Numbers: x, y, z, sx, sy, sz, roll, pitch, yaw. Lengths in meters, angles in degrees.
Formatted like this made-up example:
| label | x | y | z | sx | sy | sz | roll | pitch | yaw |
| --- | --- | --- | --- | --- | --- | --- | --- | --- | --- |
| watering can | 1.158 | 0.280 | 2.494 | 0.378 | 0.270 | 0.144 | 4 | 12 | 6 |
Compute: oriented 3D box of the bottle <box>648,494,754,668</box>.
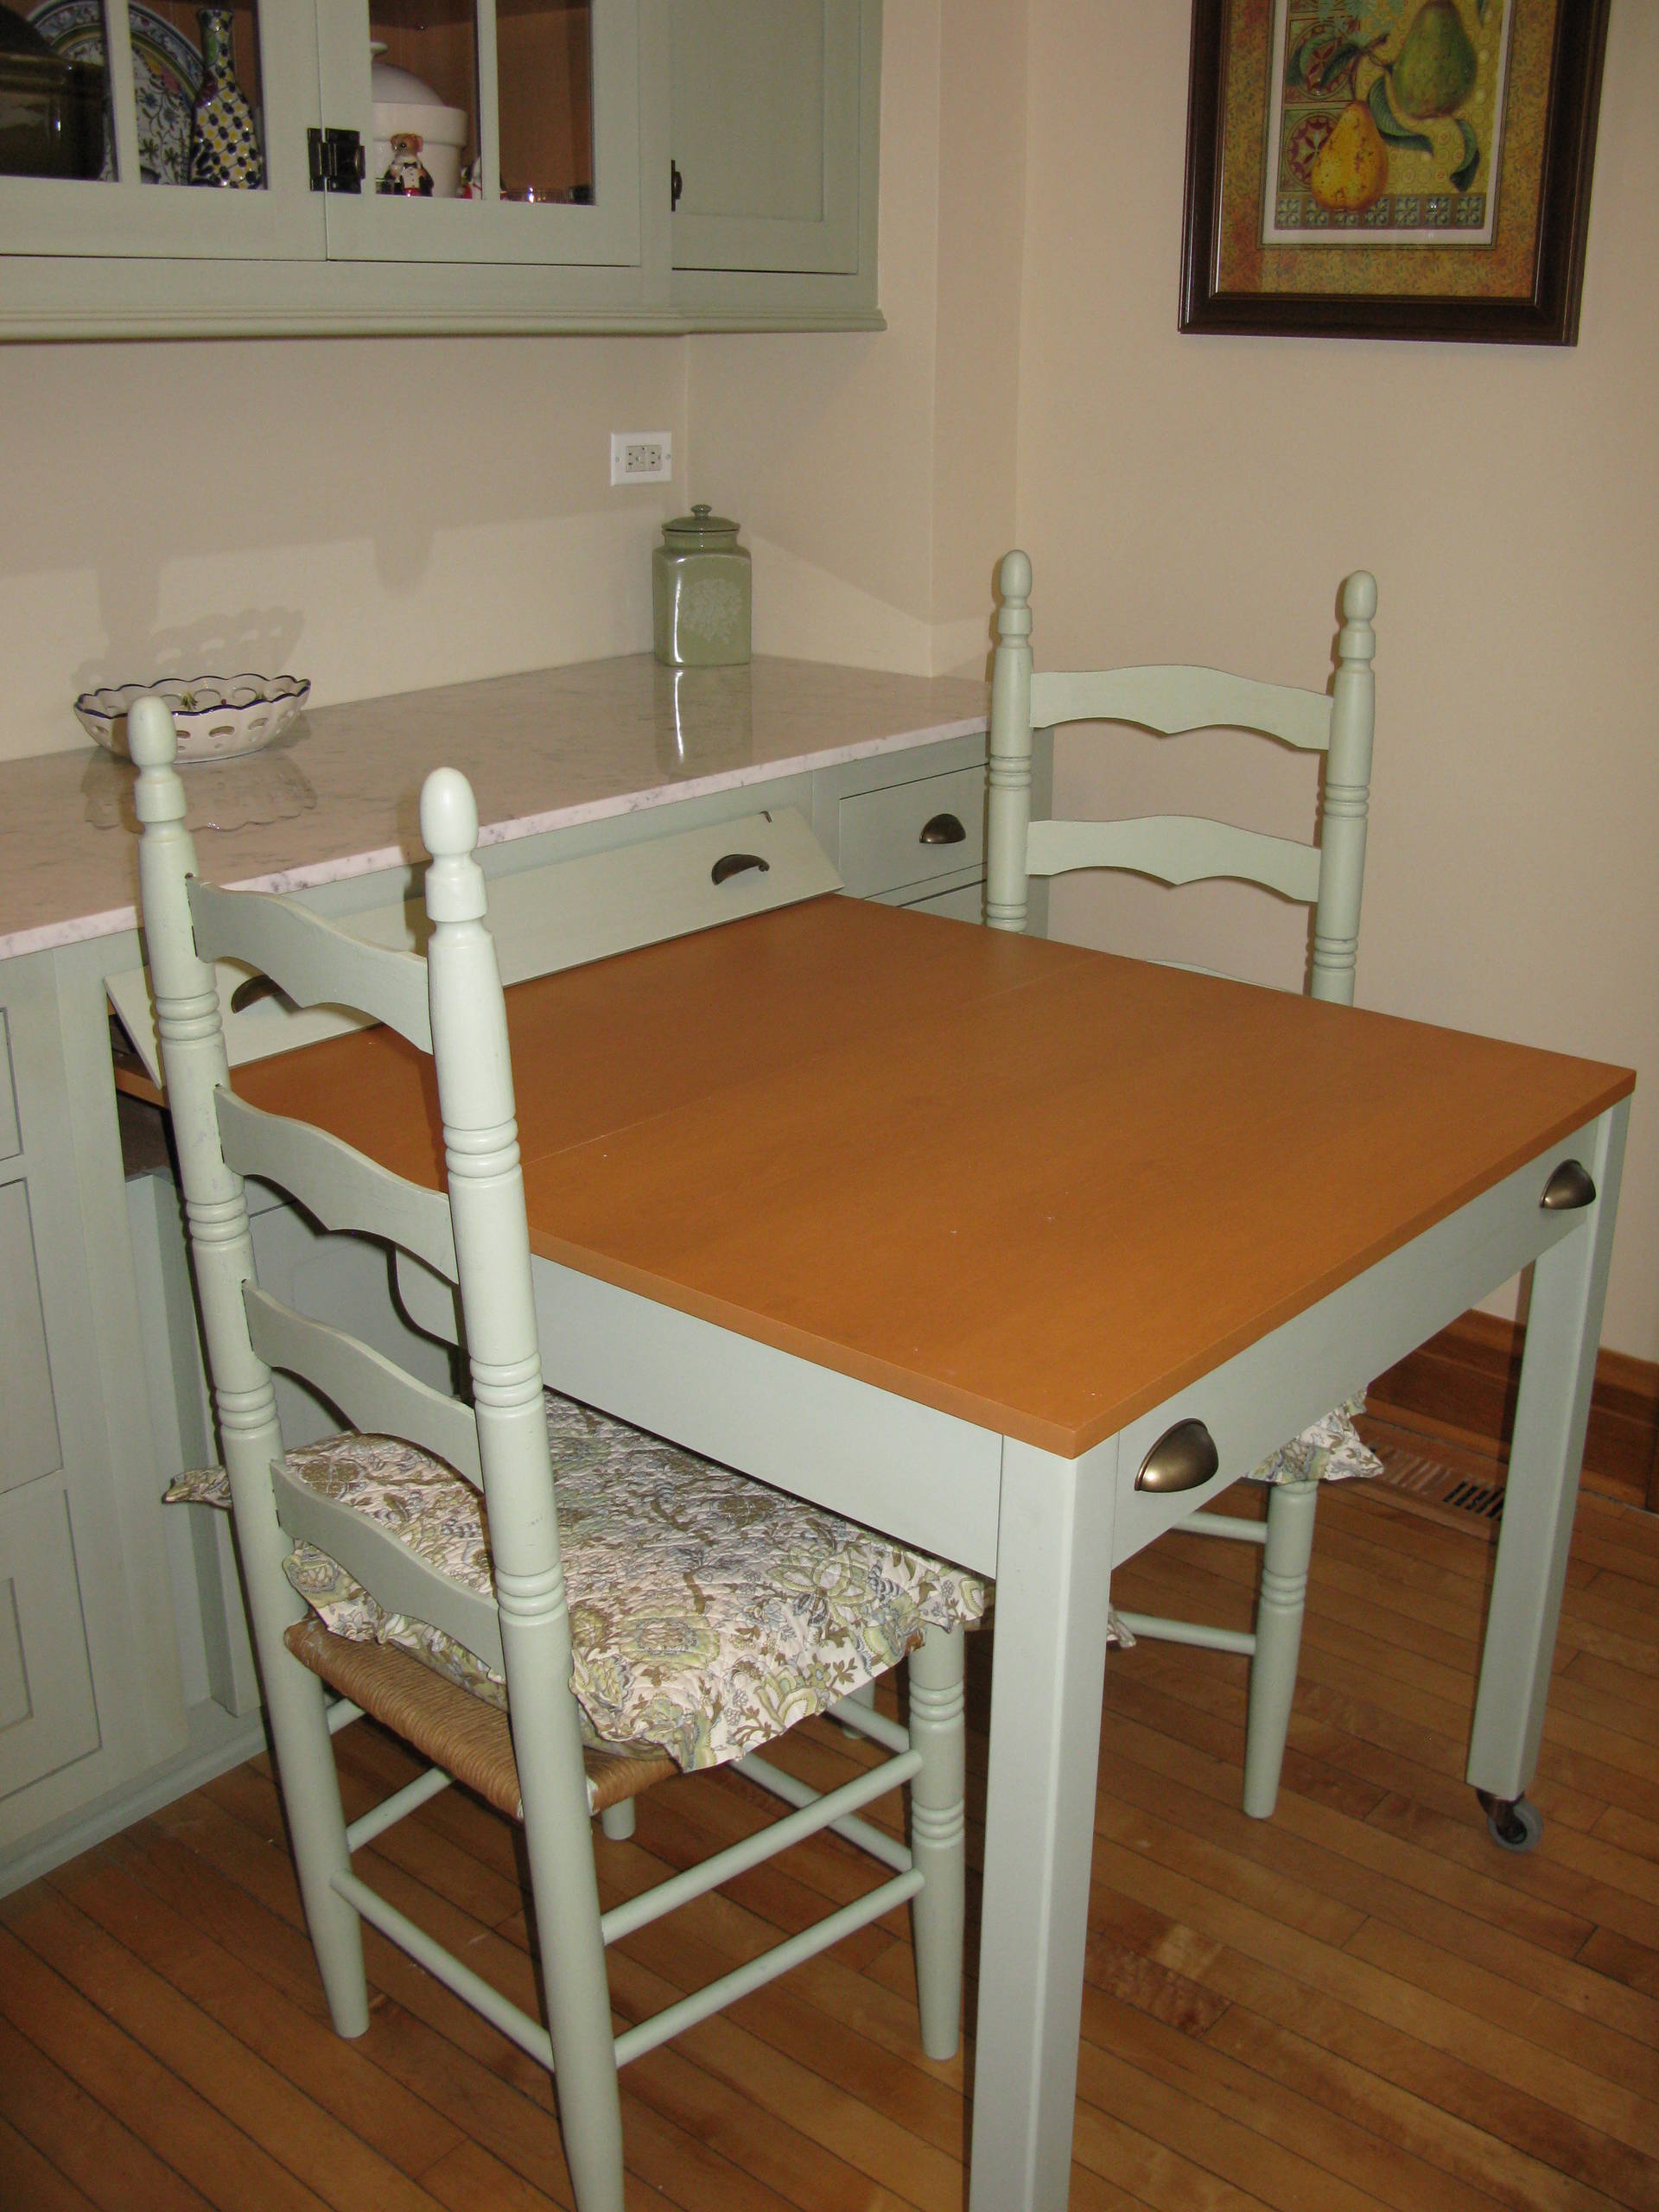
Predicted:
| label | x | y | z | sx | sy | sz | roll | pitch | yaw |
| --- | --- | --- | --- | --- | --- | --- | --- | --- | --- |
| bottle | -0.179 | -0.721 | 2.429 | 0.155 | 0.237 | 0.149 | 1 | 33 | -1 |

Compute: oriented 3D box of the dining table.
| label | x | y | z | sx | sy | sz | roll | pitch | yaw |
| --- | --- | --- | --- | --- | --- | --- | --- | --- | --- |
| dining table | 0.145 | 0.321 | 1.472 | 0.988 | 0.755 | 0.826 | 24 | 39 | 38 |

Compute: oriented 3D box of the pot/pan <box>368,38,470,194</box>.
| label | x | y | z | sx | sy | sz | roll | pitch | yaw |
| --- | --- | --- | --- | --- | --- | --- | --- | --- | --- |
| pot/pan | -0.391 | -0.951 | 1.675 | 0.101 | 0.119 | 0.101 | 0 | 24 | 2 |
